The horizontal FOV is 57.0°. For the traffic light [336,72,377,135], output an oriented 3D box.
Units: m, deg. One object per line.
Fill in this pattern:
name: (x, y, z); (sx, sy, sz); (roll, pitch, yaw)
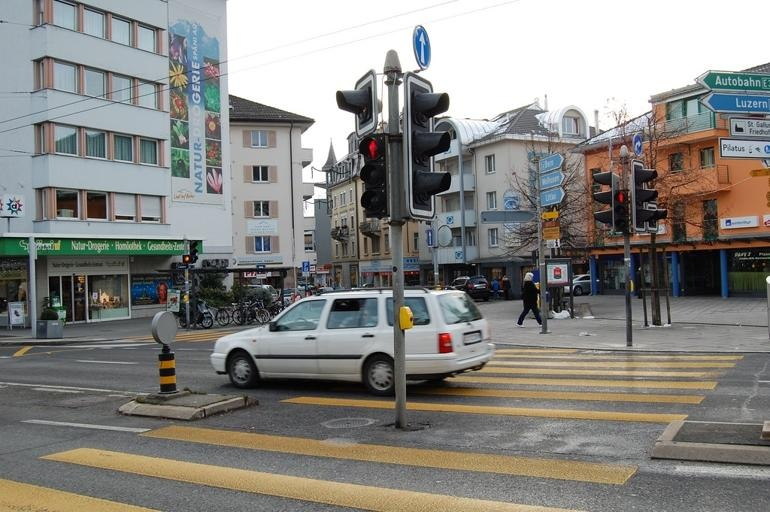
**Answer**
traffic light: (-0.407, -2.559, 11.832); (0.734, 0.785, 0.648); (-3, -2, -13)

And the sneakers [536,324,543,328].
sneakers: (5.810, 2.598, 26.627); (0.196, 0.232, 0.533); (-2, -5, 9)

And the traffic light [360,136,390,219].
traffic light: (-0.171, -1.384, 12.024); (0.477, 1.063, 0.429); (-4, -2, -2)

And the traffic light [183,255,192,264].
traffic light: (-8.711, 0.144, 31.528); (0.379, 0.390, 0.411); (-3, -3, -21)

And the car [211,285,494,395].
car: (-0.630, 1.780, 15.765); (4.973, 1.775, 2.339); (1, -1, 22)

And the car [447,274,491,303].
car: (5.818, 2.536, 48.958); (2.265, 1.821, 3.686); (0, 5, -27)

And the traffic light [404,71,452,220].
traffic light: (0.691, -1.866, 11.778); (0.794, 1.861, 0.649); (-4, -2, 2)

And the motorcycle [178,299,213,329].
motorcycle: (-9.020, 2.779, 33.368); (1.739, 1.141, 0.974); (-4, -3, 29)
